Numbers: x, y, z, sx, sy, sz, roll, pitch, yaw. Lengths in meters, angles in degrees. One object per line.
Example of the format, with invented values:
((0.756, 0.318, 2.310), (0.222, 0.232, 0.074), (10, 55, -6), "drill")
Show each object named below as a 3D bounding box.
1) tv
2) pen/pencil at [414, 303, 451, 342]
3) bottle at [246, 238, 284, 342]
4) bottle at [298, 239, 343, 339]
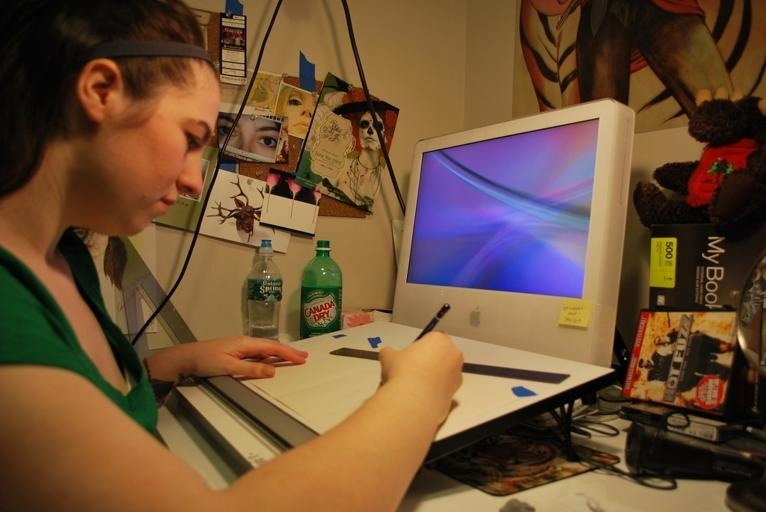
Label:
((0.286, -0.035, 1.100), (0.080, 0.583, 0.666), (21, -9, -41), "tv")
((0.104, 0.135, 1.076), (0.020, 0.095, 0.014), (36, 30, -7), "pen/pencil")
((-0.305, 0.097, 1.399), (0.091, 0.287, 0.082), (3, -2, -31), "bottle")
((-0.156, 0.097, 1.404), (0.100, 0.273, 0.100), (2, -1, 0), "bottle")
